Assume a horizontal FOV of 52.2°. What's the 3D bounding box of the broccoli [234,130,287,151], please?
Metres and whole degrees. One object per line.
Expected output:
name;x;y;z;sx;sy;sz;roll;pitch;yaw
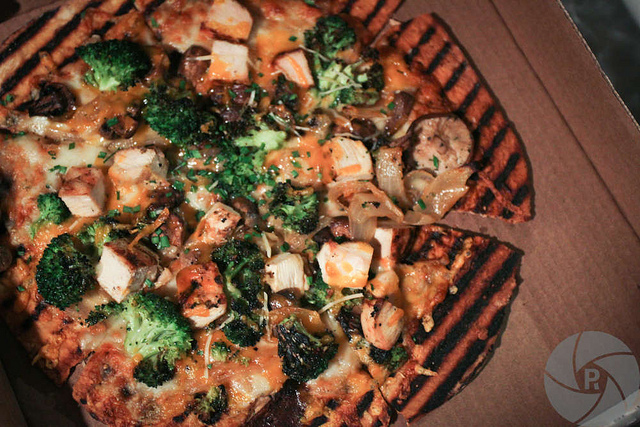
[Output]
broccoli;-0.612;-0.795;7.164;0.437;0.211;0.067;3;9;-2

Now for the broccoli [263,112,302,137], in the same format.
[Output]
broccoli;-0.447;-0.974;7.115;0.286;0.204;0.084;7;-33;0

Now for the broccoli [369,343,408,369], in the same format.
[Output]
broccoli;0.781;1.593;7.235;0.314;0.275;0.097;14;-3;-15

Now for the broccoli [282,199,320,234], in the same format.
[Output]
broccoli;-0.152;0.017;7.160;0.339;0.354;0.105;31;-15;-2

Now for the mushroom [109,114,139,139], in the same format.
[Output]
mushroom;-2.112;-0.933;7.079;0.287;0.253;0.088;14;14;-11

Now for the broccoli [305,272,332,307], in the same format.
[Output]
broccoli;-0.006;0.881;7.355;0.341;0.331;0.126;51;-4;-1

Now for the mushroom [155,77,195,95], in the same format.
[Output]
mushroom;-1.580;-1.401;7.214;0.236;0.262;0.072;-10;-13;-30

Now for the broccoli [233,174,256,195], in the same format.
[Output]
broccoli;-0.839;-0.315;7.103;0.198;0.182;0.068;59;5;-12

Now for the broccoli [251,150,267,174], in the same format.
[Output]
broccoli;-0.654;-0.564;7.101;0.187;0.220;0.074;-25;8;-9

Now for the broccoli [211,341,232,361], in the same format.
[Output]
broccoli;-1.073;1.494;7.087;0.213;0.193;0.093;16;14;-5
